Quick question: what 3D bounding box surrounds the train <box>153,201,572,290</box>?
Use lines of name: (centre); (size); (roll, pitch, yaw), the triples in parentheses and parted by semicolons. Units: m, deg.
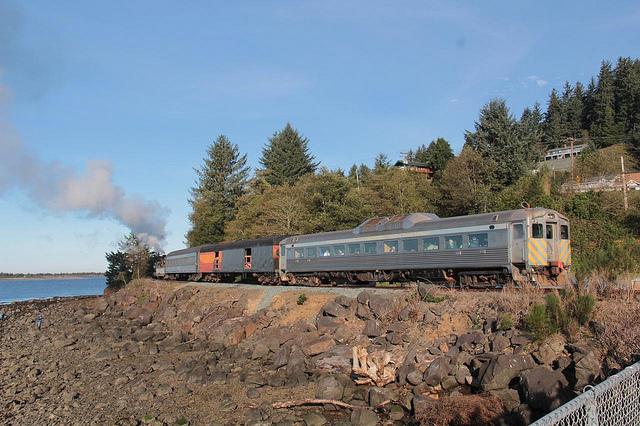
train: (4.631, 3.093, 31.996); (3.324, 4.590, 26.831); (4, -9, -36)

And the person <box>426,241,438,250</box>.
person: (6.867, 2.002, 26.089); (0.692, 0.479, 0.228); (-4, 6, 29)

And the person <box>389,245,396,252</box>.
person: (4.768, 2.334, 27.949); (0.296, 0.389, 1.031); (2, -11, -11)
